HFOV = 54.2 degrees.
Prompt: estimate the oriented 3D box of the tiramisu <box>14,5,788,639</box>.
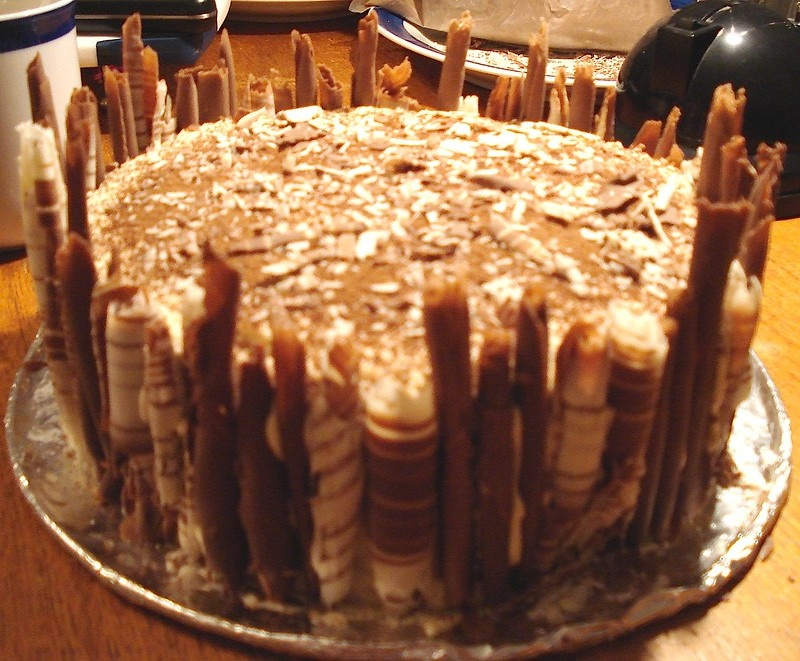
[{"bbox_3d":[-0.004,-0.059,0.704,0.603,0.388,0.519,10,24,20],"label":"tiramisu"}]
